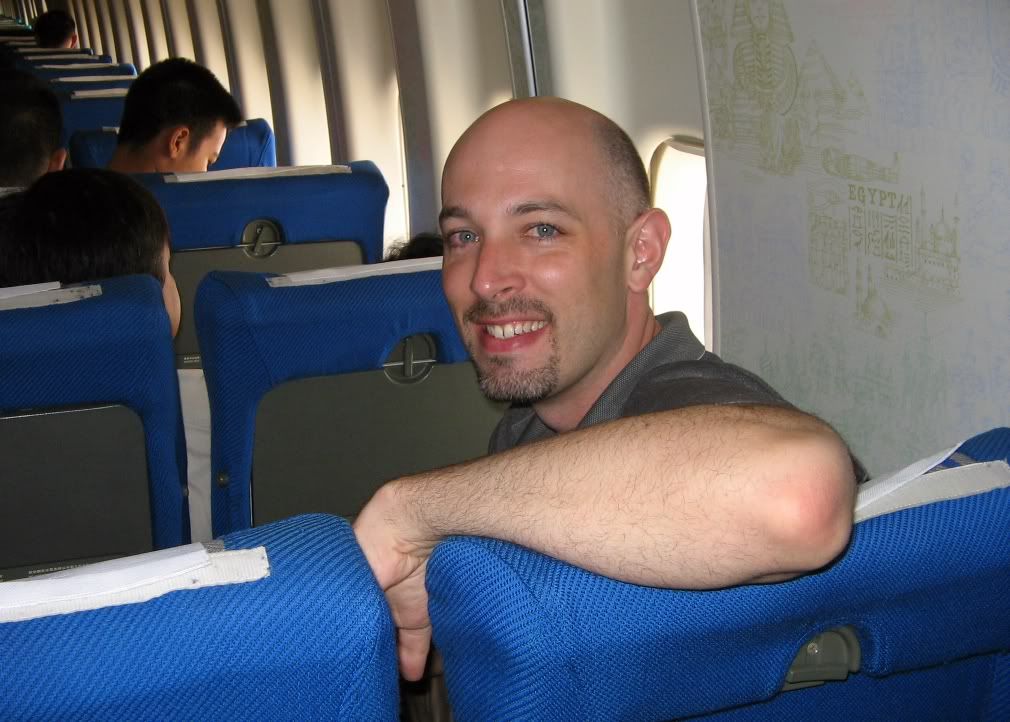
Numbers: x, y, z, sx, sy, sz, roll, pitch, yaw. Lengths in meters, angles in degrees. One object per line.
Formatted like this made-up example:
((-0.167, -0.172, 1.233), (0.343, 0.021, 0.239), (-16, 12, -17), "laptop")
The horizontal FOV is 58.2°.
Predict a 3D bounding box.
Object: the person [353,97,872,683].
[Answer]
((0.115, -0.033, 1.640), (0.667, 0.807, 1.078), (5, -10, -44), "person")
